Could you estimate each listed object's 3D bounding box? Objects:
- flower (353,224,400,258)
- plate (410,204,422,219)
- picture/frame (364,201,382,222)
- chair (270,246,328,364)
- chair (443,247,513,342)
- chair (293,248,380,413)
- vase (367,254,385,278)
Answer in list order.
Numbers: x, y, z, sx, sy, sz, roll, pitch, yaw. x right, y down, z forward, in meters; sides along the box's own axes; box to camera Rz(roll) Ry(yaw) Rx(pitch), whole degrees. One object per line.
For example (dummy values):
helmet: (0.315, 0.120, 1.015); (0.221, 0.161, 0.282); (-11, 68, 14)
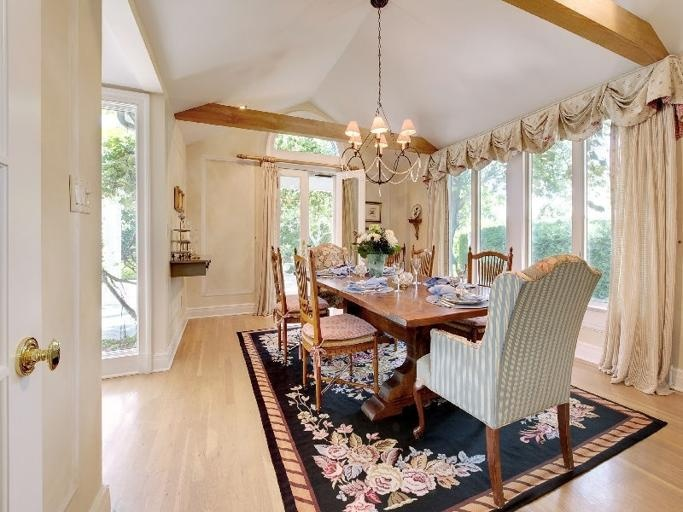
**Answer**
flower: (0.327, -0.137, 4.360); (0.296, 0.279, 0.301); (8, 12, 37)
plate: (1.035, -0.634, 7.154); (0.088, 0.209, 0.296); (-3, 4, -15)
picture/frame: (0.450, -0.669, 7.487); (0.382, 0.347, 0.029); (1, -2, -37)
chair: (-0.362, 0.473, 4.793); (0.560, 1.032, 0.571); (-3, -4, -2)
chair: (1.104, 0.427, 4.349); (0.594, 0.985, 0.607); (5, 12, 37)
chair: (-0.052, 0.526, 4.041); (0.665, 1.151, 0.738); (-2, 6, -2)
vase: (0.278, 0.074, 4.368); (0.166, 0.195, 0.170); (0, -1, -16)
